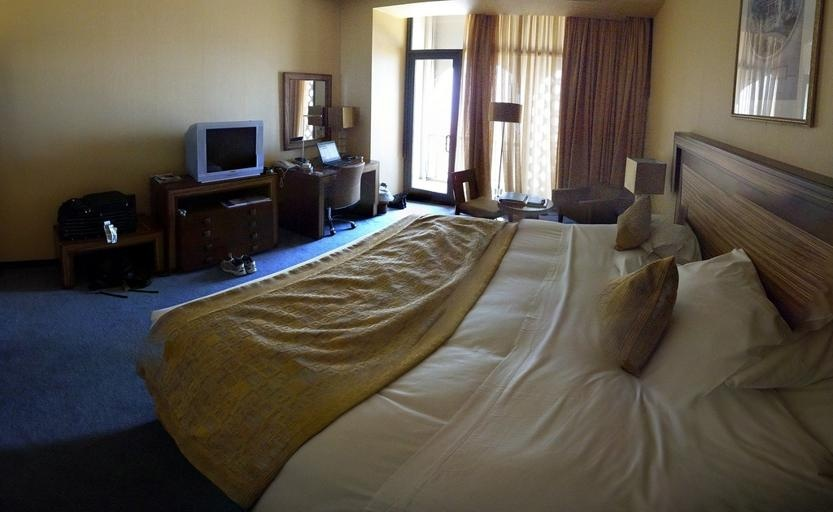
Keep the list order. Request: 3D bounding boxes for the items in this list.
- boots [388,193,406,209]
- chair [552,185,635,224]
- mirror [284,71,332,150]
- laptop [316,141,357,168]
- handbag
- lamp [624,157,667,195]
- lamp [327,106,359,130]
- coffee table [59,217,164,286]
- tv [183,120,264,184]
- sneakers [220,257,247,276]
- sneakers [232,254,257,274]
[{"bbox_3d":[-0.285,-0.839,8.215,0.200,0.109,0.257,6,16,14],"label":"boots"},{"bbox_3d":[2.117,-0.619,6.471,0.658,0.591,0.665,-6,20,-21],"label":"chair"},{"bbox_3d":[-1.503,-1.989,7.347,0.074,1.002,1.021,11,18,27],"label":"mirror"},{"bbox_3d":[-1.123,-1.361,7.338,0.482,0.309,0.521,15,26,18],"label":"laptop"},{"bbox_3d":[-3.147,-0.383,5.342,0.652,0.389,0.278,-13,17,-37],"label":"handbag"},{"bbox_3d":[2.264,-0.825,5.483,0.403,0.370,0.385,2,16,7],"label":"lamp"},{"bbox_3d":[-1.041,-1.972,7.684,0.357,0.499,0.361,5,27,8],"label":"lamp"},{"bbox_3d":[-3.079,-0.198,5.314,0.632,0.410,0.877,8,15,35],"label":"coffee table"},{"bbox_3d":[-2.179,-1.155,5.994,0.362,0.525,0.677,12,17,37],"label":"tv"},{"bbox_3d":[-1.962,0.099,5.827,0.340,0.143,0.142,22,25,38],"label":"sneakers"},{"bbox_3d":[-1.859,0.096,5.796,0.173,0.089,0.248,-7,18,-31],"label":"sneakers"}]
